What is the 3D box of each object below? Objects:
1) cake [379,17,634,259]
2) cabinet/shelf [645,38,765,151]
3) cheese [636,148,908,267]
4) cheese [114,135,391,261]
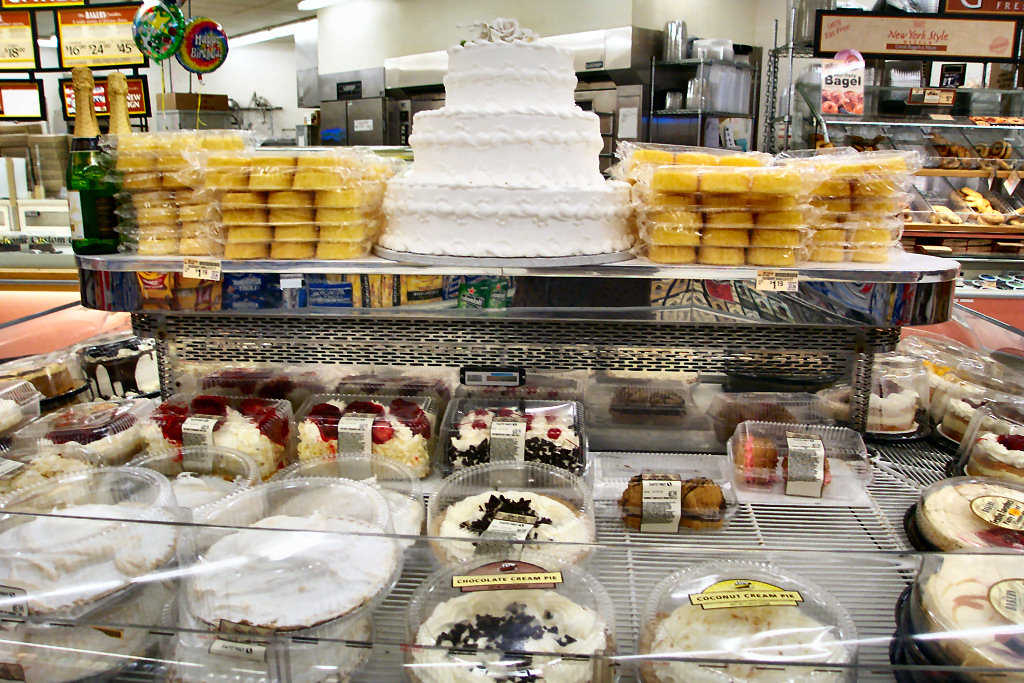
[{"bbox_3d":[-0.017,-0.638,2.469,1.093,0.619,0.822,1,10,6],"label":"cake"},{"bbox_3d":[2.003,-2.463,7.119,0.658,1.049,1.604,16,23,40],"label":"cabinet/shelf"},{"bbox_3d":[0.736,-0.404,2.346,0.711,0.408,0.633,-3,27,-12],"label":"cheese"},{"bbox_3d":[-0.824,-0.452,2.203,0.700,0.382,0.349,6,19,23],"label":"cheese"}]
